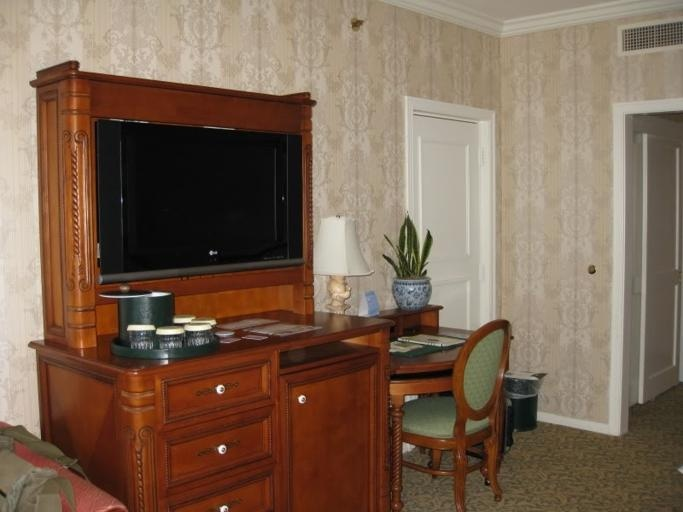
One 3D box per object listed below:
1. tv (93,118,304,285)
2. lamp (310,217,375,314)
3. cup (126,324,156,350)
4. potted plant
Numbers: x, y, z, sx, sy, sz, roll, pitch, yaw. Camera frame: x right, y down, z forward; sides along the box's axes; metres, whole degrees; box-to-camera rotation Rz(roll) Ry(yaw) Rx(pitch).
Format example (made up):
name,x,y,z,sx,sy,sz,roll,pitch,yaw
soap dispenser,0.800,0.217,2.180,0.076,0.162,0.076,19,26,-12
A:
name,x,y,z,sx,sy,sz,roll,pitch,yaw
tv,-0.690,-0.254,2.691,0.054,0.519,0.778,6,8,42
lamp,-0.010,0.056,3.229,0.292,0.552,0.246,-7,9,-29
cup,-0.804,0.320,2.347,0.091,0.084,0.094,0,0,0
potted plant,0.439,0.029,3.919,0.324,0.615,0.436,-2,8,8
